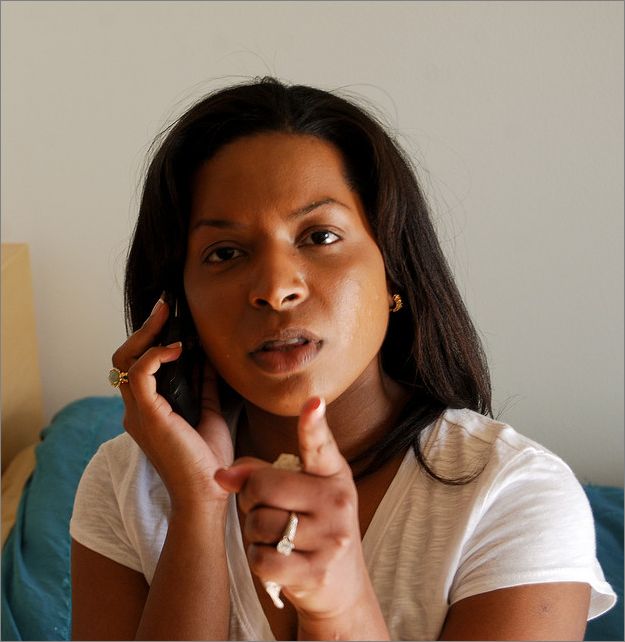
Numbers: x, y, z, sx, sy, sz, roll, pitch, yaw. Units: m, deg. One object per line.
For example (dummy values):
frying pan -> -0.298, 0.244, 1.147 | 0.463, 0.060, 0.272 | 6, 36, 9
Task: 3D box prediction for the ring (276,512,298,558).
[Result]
ring -> -0.027, 0.220, 0.690 | 0.023, 0.034, 0.015 | 21, -6, -2
